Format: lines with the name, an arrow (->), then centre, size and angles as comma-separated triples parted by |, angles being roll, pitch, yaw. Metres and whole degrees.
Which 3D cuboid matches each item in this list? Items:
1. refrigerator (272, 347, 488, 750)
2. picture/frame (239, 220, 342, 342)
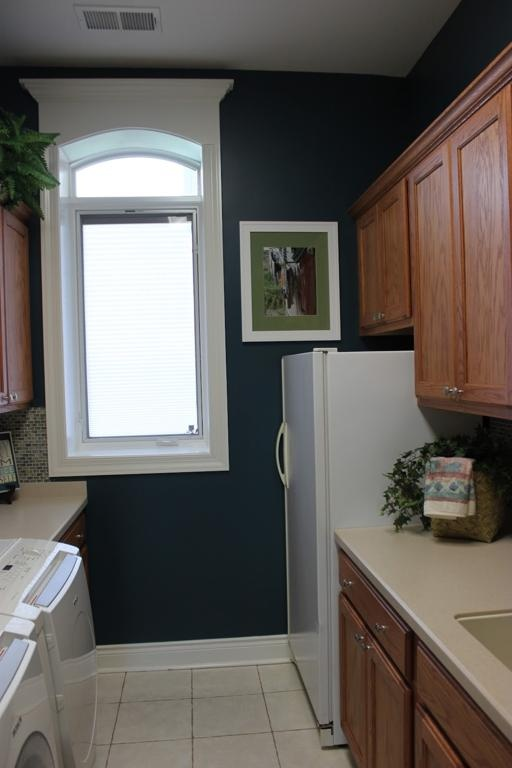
refrigerator -> 0.361, 0.388, 2.249 | 0.540, 1.128, 0.506 | -1, 15, 3
picture/frame -> 0.129, -0.471, 2.601 | 0.461, 0.624, 0.030 | -1, -3, -10
